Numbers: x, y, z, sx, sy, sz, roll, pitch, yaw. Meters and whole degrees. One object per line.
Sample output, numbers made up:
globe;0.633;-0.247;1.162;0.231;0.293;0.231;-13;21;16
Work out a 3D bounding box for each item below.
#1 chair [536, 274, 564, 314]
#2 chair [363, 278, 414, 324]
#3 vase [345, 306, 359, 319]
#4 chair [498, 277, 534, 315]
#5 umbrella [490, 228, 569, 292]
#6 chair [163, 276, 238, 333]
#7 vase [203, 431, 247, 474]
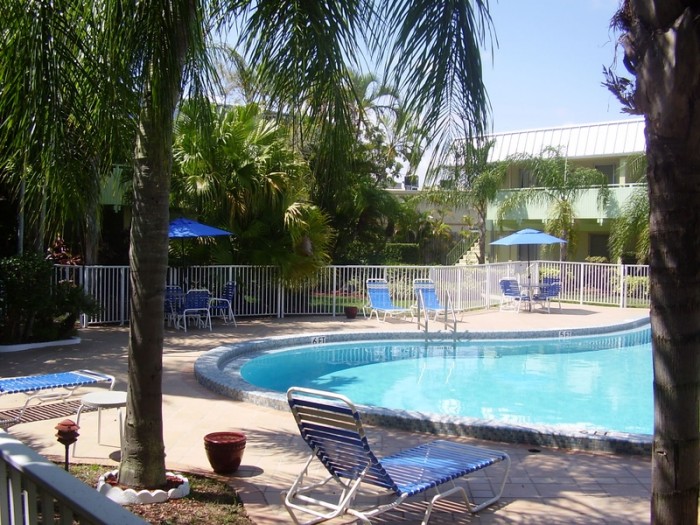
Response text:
chair;6.590;1.012;20.525;0.734;1.196;3.202;-3;-5;19
chair;0.863;1.031;16.713;0.748;1.052;1.332;-1;3;-16
vase;0.036;1.394;17.488;0.292;0.287;0.309;2;-2;-14
chair;5.154;0.953;19.700;0.776;1.301;0.905;5;21;44
umbrella;6.144;-0.096;21.205;1.876;2.058;2.025;-1;0;-22
chair;-3.785;1.071;15.594;0.919;1.279;1.707;-5;-9;40
vase;-1.176;1.772;5.770;0.316;0.315;0.356;1;-6;4
